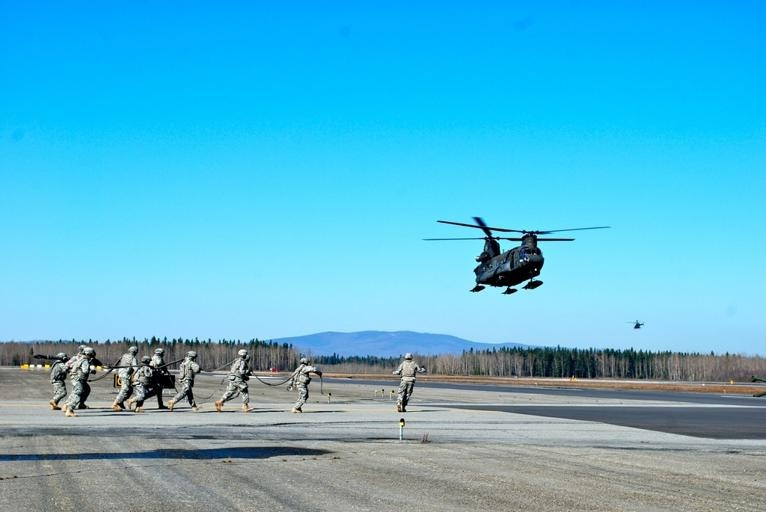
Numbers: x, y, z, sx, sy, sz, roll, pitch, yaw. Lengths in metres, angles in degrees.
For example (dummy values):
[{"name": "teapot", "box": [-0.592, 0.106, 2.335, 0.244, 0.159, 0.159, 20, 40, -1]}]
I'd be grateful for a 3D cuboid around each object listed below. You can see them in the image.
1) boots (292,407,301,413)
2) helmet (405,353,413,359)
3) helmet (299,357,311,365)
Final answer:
[{"name": "boots", "box": [-4.082, 7.331, 42.635, 0.482, 0.178, 0.350, 5, -8, -23]}, {"name": "helmet", "box": [1.239, 4.770, 43.015, 0.327, 0.249, 0.392, 1, -10, -14]}, {"name": "helmet", "box": [-3.806, 5.011, 43.221, 0.432, 0.365, 0.480, -1, -23, 0]}]
